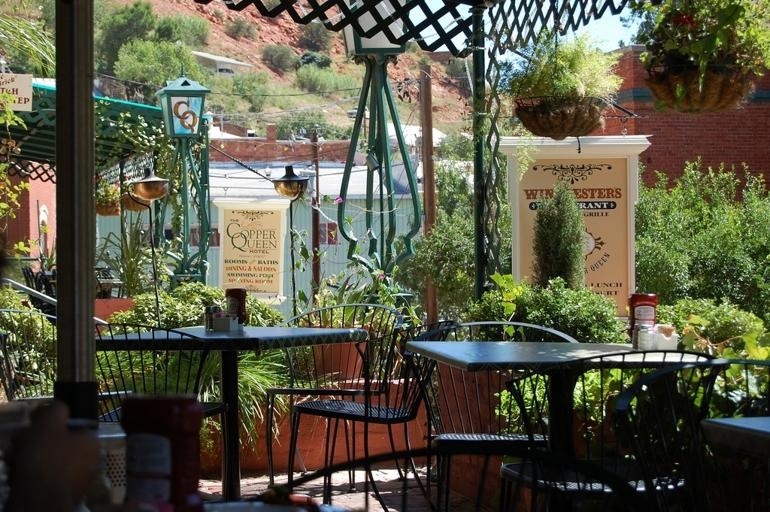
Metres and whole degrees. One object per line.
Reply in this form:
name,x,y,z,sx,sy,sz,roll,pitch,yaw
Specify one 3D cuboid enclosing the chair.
chair,0.164,0.979,7.394,3.701,1.346,1.862,-2,-3,20
